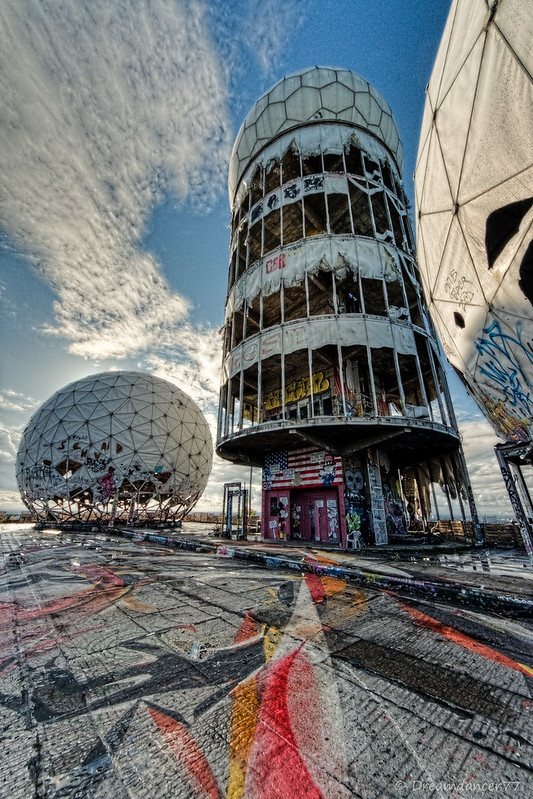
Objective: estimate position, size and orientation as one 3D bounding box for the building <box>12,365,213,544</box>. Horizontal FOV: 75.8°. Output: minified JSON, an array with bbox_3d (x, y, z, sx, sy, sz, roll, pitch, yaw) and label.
[{"bbox_3d":[-15.738,5.317,35.651,22.443,11.977,18.205,-2,-13,4],"label":"building"}]
